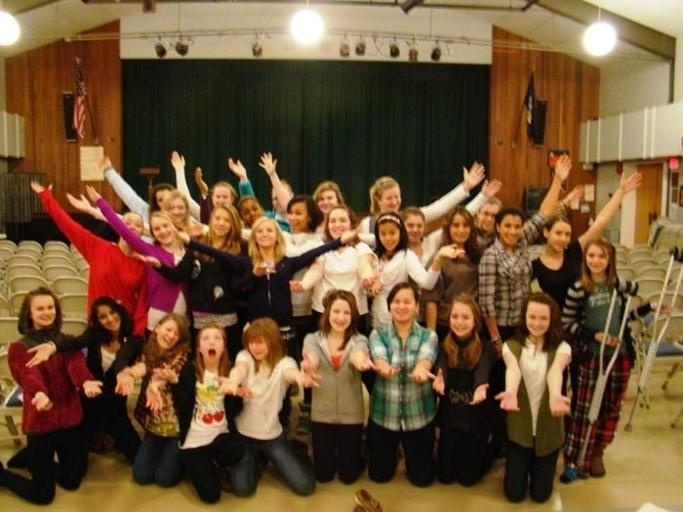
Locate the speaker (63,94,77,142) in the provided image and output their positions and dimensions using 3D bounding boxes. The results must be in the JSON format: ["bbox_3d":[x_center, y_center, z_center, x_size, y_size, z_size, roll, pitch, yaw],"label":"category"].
[{"bbox_3d":[-6.194,-3.146,13.413,0.254,1.042,0.689,-5,10,-24],"label":"speaker"}]

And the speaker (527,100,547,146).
[{"bbox_3d":[4.683,-3.182,14.116,0.277,1.072,1.155,5,10,30],"label":"speaker"}]
